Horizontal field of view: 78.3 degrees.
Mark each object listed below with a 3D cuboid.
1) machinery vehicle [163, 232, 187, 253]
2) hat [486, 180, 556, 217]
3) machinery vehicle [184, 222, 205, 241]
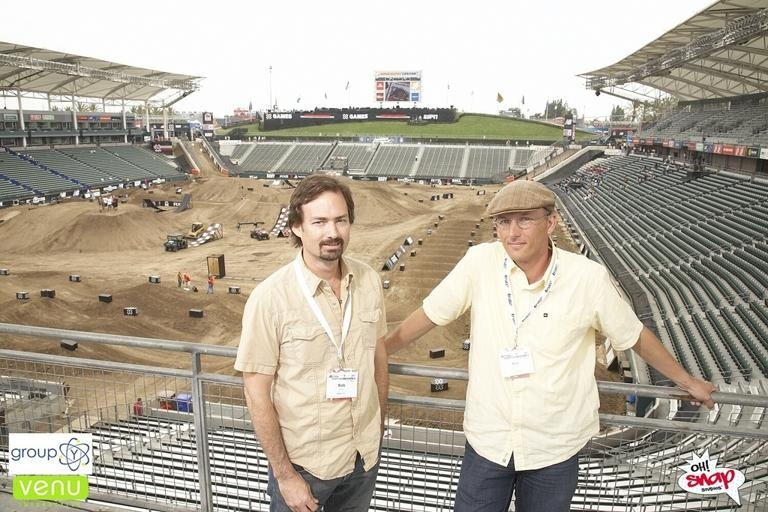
[{"bbox_3d":[-15.924,-1.046,36.230,1.467,1.063,2.062,0,0,6],"label":"machinery vehicle"},{"bbox_3d":[1.163,-0.482,3.871,0.542,0.225,0.698,1,6,35],"label":"hat"},{"bbox_3d":[-15.857,-2.087,39.505,1.323,0.917,2.015,0,16,8],"label":"machinery vehicle"}]
